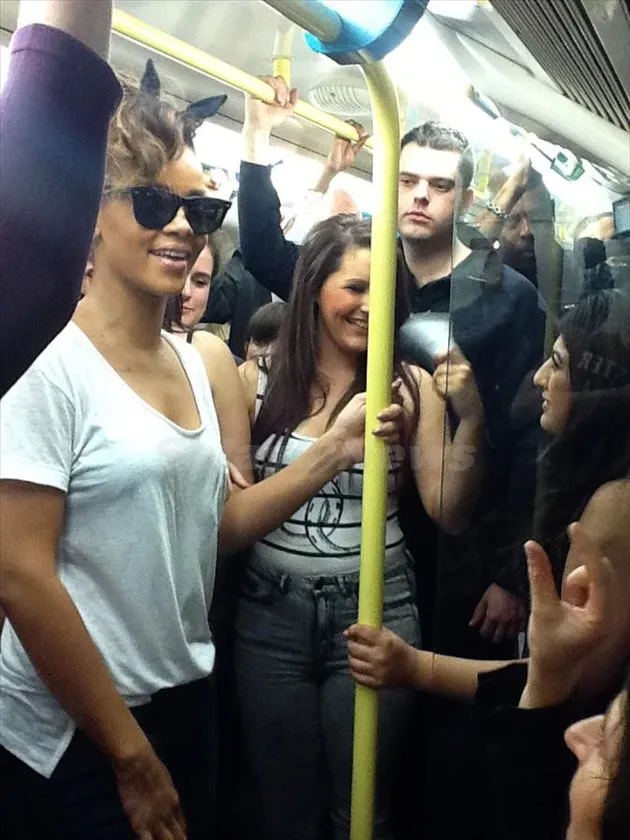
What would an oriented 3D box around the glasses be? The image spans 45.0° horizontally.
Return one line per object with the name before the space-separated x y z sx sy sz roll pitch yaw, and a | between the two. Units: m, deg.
glasses | -0.144 -0.219 0.789 0.062 0.020 0.066 7 8 36
